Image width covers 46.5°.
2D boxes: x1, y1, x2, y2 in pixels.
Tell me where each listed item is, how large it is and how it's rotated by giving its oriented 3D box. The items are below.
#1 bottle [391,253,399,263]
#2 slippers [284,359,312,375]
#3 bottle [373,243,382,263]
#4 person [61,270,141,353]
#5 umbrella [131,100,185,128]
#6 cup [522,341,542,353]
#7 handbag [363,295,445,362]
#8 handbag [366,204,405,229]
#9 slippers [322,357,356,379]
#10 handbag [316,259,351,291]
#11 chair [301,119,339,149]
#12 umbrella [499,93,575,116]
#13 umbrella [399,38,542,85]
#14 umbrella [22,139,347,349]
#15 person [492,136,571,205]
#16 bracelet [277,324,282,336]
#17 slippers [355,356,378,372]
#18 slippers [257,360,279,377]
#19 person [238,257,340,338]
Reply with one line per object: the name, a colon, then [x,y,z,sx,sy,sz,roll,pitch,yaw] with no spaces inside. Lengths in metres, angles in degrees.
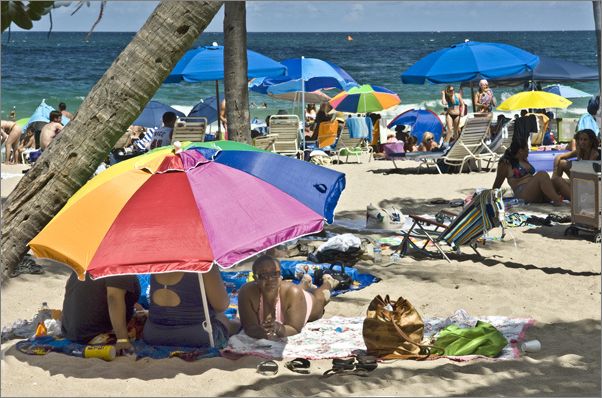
bottle: [1.247,0.773,9.273,0.123,0.088,0.160,2,28,9]
slippers: [-0.016,1.609,6.748,0.150,0.036,0.135,5,17,21]
bottle: [1.029,0.696,9.303,0.105,0.250,0.280,1,3,6]
person: [-1.989,1.124,6.969,0.744,0.600,0.403,12,15,32]
umbrella: [-3.473,-1.938,16.456,1.453,0.652,1.393,1,4,-4]
cup: [2.248,1.431,6.833,0.122,0.117,0.125,4,18,-1]
handbag: [1.012,1.273,6.917,0.746,0.475,0.533,1,0,4]
handbag: [1.257,0.264,10.428,0.506,0.306,0.320,2,1,-2]
slippers: [0.391,1.605,6.714,0.233,0.087,0.146,-9,8,-32]
handbag: [0.414,0.917,8.515,0.380,0.290,0.266,22,-15,-39]
chair: [0.561,-1.664,17.982,0.746,1.091,0.796,-5,16,-30]
umbrella: [6.133,-2.633,18.541,1.687,0.583,1.164,2,3,11]
umbrella: [3.580,-2.946,14.928,2.624,0.925,0.924,2,3,10]
umbrella: [-0.988,0.281,7.239,2.389,1.671,2.201,-8,15,6]
person: [3.792,-0.468,11.512,0.764,1.075,1.504,-20,14,-27]
bracelet: [-0.218,1.341,7.228,0.026,0.091,0.096,4,-3,-8]
slippers: [0.632,1.571,6.722,0.145,0.056,0.129,5,-1,-7]
slippers: [-0.297,1.614,6.745,0.198,0.082,0.243,2,3,17]
person: [-0.113,1.084,7.598,0.505,0.539,1.272,1,0,25]
